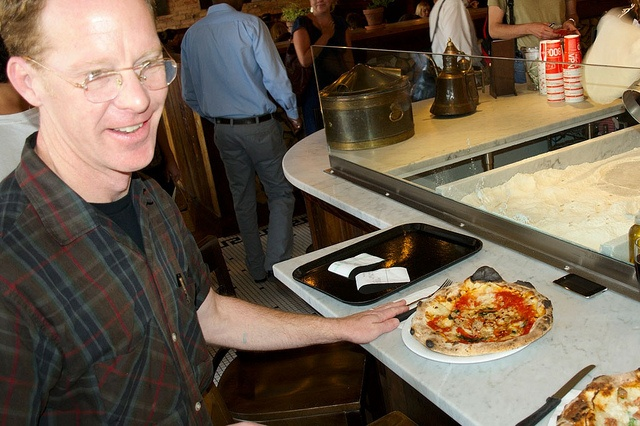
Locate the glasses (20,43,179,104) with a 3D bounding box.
[{"bbox_3d":[-0.473,-0.302,0.930,0.257,0.112,0.090,-23,29,-26],"label":"glasses"}]

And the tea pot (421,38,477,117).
[{"bbox_3d":[0.508,-0.531,1.662,0.181,0.275,0.172,-8,23,4],"label":"tea pot"}]

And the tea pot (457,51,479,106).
[{"bbox_3d":[0.551,-0.498,1.618,0.085,0.199,0.082,-3,17,1],"label":"tea pot"}]

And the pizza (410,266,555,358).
[{"bbox_3d":[0.436,0.266,1.143,0.253,0.058,0.231,-11,29,12],"label":"pizza"}]
